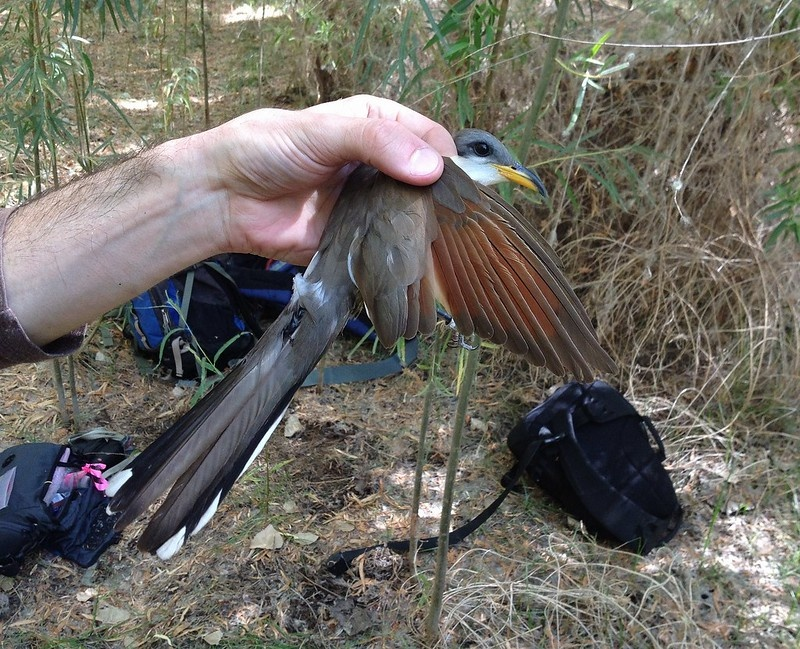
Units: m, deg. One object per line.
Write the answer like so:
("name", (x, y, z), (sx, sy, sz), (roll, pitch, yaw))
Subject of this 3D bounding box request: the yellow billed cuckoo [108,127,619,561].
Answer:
("yellow billed cuckoo", (-0.216, 0.077, 3.121), (1.666, 0.607, 1.629), (-33, 36, -14))

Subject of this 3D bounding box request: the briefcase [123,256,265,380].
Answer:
("briefcase", (-1.076, -0.058, 5.097), (0.672, 0.683, 0.493), (6, -9, -30))

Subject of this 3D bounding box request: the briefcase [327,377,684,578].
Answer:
("briefcase", (0.660, 0.949, 4.303), (1.475, 0.629, 0.952), (-17, 38, -14))
